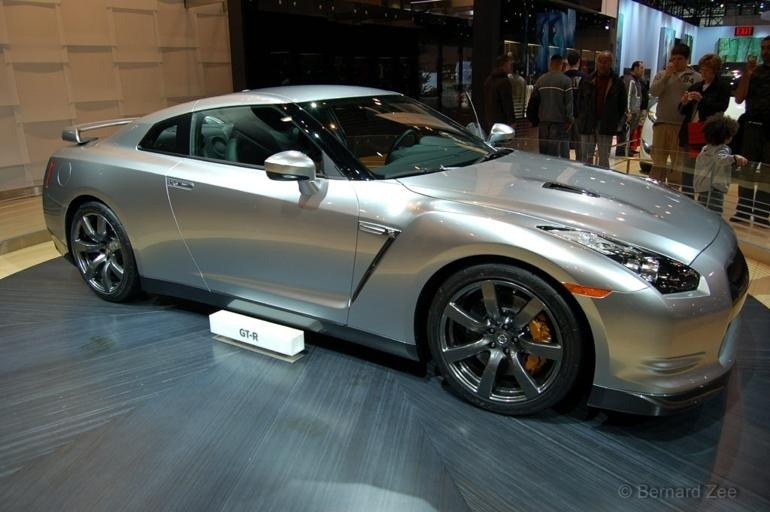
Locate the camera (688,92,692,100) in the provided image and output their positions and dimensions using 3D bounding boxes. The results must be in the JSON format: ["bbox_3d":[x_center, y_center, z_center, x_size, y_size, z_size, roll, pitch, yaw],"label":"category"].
[{"bbox_3d":[3.893,-2.047,5.524,0.057,0.078,0.024,-8,-16,33],"label":"camera"}]
